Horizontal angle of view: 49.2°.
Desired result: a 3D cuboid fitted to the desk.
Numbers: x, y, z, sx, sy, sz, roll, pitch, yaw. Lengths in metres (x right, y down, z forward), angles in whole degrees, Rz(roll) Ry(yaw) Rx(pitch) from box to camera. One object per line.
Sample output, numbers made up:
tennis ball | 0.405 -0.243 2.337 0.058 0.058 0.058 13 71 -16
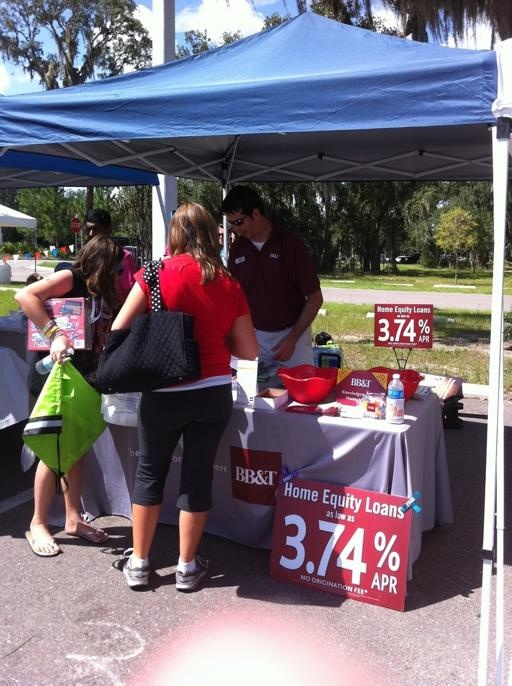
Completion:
desk | 0.097 0.481 2.793 1.433 0.625 0.927 5 18 16

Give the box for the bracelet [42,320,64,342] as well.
bracelet | -0.926 -0.057 2.550 0.078 0.097 0.047 -2 7 -14

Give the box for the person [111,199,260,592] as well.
person | -0.271 0.268 2.274 0.580 1.640 0.412 -1 6 -8

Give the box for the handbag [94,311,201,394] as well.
handbag | -0.418 0.026 2.080 0.359 0.274 0.145 -8 -14 13

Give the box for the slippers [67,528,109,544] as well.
slippers | -0.848 0.957 2.882 0.195 0.053 0.088 4 4 20

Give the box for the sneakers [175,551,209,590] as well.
sneakers | -0.284 0.999 2.488 0.080 0.091 0.187 1 8 10

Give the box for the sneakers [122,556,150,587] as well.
sneakers | -0.533 1.000 2.479 0.070 0.091 0.176 1 8 -10

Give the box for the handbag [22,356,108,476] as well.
handbag | -0.890 0.321 2.643 0.335 0.610 0.237 -3 -27 -19
